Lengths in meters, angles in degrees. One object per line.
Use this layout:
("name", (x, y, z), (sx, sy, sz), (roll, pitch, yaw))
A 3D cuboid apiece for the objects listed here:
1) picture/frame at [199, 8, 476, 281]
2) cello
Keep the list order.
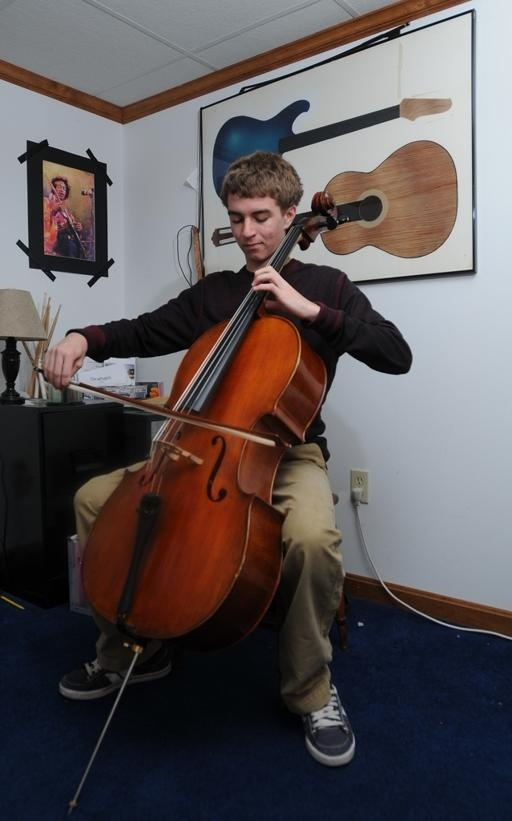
("picture/frame", (0.293, -0.847, 2.056), (0.991, 0.728, 0.040), (1, 7, 37))
("cello", (-0.113, 0.032, 1.287), (0.384, 0.721, 0.552), (2, 5, 23))
